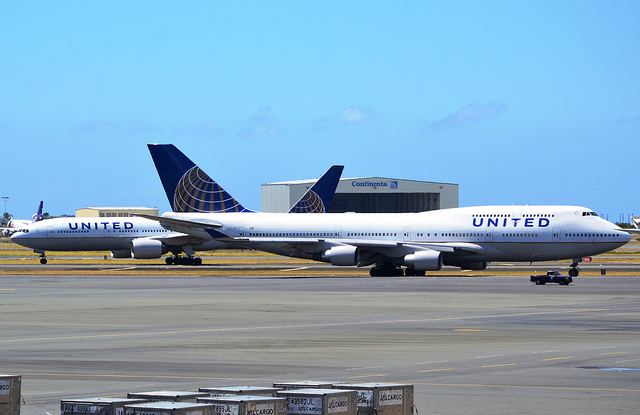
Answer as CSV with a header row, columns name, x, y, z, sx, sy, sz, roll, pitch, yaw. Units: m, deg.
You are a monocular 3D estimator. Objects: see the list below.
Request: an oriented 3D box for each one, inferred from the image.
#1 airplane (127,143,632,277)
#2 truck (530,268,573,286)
name,x,y,z,sx,sy,sz,roll,pitch,yaw
airplane,3.739,2.164,90.670,35.331,5.045,8.420,1,1,27
truck,14.390,4.281,76.381,2.049,0.680,1.045,-1,1,11
